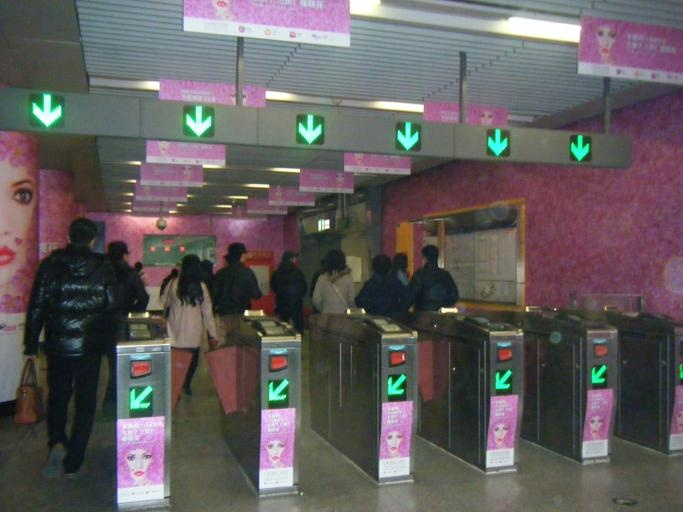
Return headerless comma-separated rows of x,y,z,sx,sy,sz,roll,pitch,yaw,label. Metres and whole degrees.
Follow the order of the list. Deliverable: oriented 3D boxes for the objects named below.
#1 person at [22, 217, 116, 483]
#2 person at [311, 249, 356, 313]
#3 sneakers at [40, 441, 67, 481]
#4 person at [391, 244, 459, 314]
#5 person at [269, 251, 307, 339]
-2.544,0.767,6.494,0.753,2.385,0.801,5,8,-21,person
-0.136,0.350,9.510,0.580,0.887,0.374,0,10,0,person
-2.625,1.862,6.263,0.159,0.326,0.112,7,-5,-7,sneakers
1.041,0.278,8.089,0.622,0.764,0.359,1,10,6,person
-0.868,0.606,11.072,0.545,1.303,0.893,-1,10,-5,person
